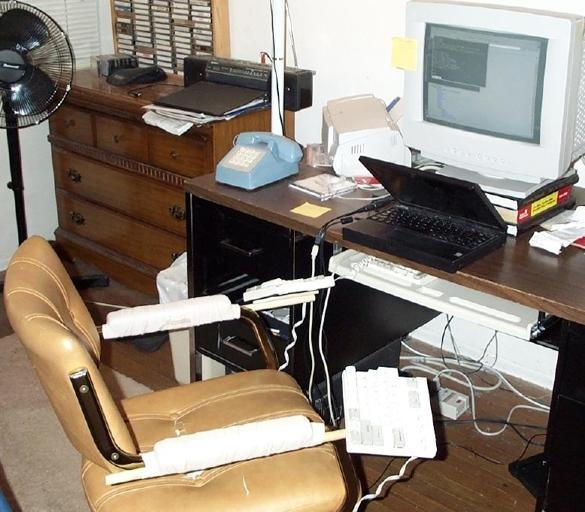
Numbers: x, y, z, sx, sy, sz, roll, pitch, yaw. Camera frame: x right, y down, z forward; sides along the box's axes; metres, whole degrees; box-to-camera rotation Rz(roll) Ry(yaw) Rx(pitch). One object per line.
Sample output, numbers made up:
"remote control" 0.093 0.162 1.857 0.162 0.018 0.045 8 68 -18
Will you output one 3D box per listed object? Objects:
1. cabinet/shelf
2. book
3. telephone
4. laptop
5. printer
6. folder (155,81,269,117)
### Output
"cabinet/shelf" -0.736 -0.376 2.967 0.997 0.964 0.548 19 32 18
"book" -0.356 -0.679 2.378 0.411 0.102 0.297 19 29 32
"telephone" -0.116 -0.338 1.909 0.260 0.127 0.229 20 34 37
"laptop" 0.347 -0.074 1.494 0.325 0.283 0.458 -29 40 -36
"printer" 0.263 -0.442 2.010 0.324 0.193 0.343 1 37 11
"folder" -0.324 -0.664 2.354 0.314 0.084 0.256 22 32 36
